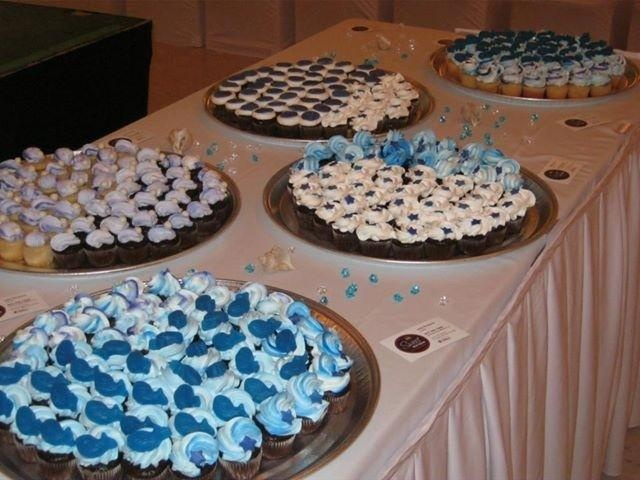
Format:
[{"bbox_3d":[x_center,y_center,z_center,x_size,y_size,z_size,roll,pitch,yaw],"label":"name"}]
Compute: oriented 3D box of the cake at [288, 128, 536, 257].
[{"bbox_3d":[0.270,-0.154,1.736,0.719,0.197,0.540,-2,31,-4],"label":"cake"}]
